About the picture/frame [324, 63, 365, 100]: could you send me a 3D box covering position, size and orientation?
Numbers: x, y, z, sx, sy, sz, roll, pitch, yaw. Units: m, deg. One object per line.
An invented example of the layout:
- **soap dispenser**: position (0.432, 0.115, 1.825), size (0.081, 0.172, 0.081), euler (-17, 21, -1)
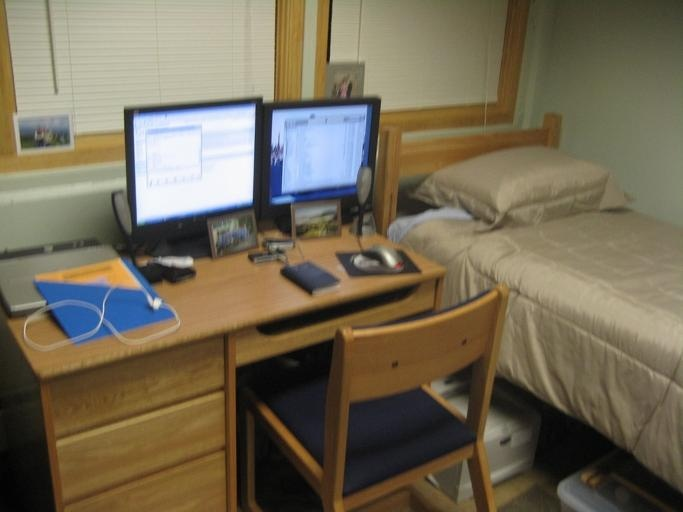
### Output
- **picture/frame**: position (0.019, -0.820, 2.606), size (0.241, 0.160, 0.031), euler (-21, 28, -40)

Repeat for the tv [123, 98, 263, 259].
- **tv**: position (-0.525, -0.264, 1.939), size (0.454, 0.502, 0.159), euler (-13, 29, -35)

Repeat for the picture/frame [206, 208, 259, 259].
- **picture/frame**: position (-0.404, -0.077, 2.021), size (0.151, 0.112, 0.015), euler (-22, 13, -34)

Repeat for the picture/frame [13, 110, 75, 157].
- **picture/frame**: position (-1.061, -0.436, 1.985), size (0.193, 0.140, 0.035), euler (-16, 25, -30)

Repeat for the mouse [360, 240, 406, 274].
- **mouse**: position (0.156, -0.001, 1.981), size (0.126, 0.047, 0.082), euler (29, 28, 26)

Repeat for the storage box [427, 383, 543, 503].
- **storage box**: position (0.558, 0.757, 2.433), size (0.461, 0.303, 0.466), euler (-17, 31, -35)

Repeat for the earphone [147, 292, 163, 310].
- **earphone**: position (-0.568, 0.142, 1.703), size (0.038, 0.053, 0.032), euler (14, 55, 3)

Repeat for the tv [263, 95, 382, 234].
- **tv**: position (-0.087, -0.358, 2.217), size (0.504, 0.508, 0.052), euler (-13, 34, -27)

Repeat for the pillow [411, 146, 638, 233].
- **pillow**: position (0.972, -0.375, 2.813), size (0.739, 0.209, 0.553), euler (-14, 27, -26)
